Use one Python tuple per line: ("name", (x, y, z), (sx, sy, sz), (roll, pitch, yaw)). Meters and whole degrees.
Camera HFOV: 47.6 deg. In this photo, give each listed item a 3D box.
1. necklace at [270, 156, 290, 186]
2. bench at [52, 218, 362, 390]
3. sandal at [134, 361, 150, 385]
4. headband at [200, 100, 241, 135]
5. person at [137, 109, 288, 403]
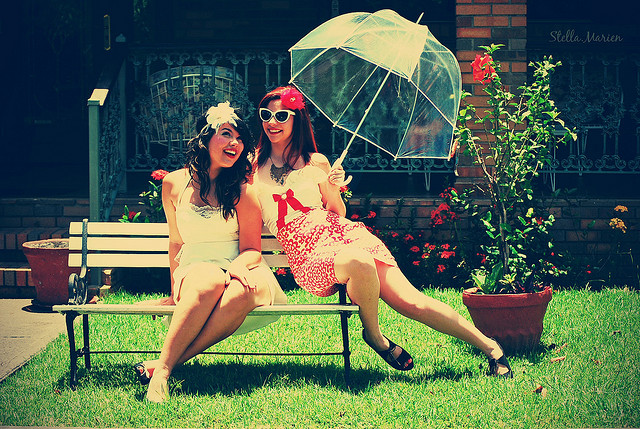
("necklace", (-0.364, -0.396, 6.618), (0.206, 0.336, 0.087), (-5, -30, 18))
("bench", (-1.019, 1.152, 7.281), (2.768, 1.625, 1.130), (-1, 27, -10))
("sandal", (-1.559, 1.376, 6.293), (0.088, 0.194, 0.226), (-2, 8, -33))
("headband", (-0.909, -0.872, 6.523), (0.353, 0.287, 0.143), (0, 6, -12))
("person", (-0.948, 0.302, 6.392), (1.053, 2.457, 0.797), (1, 6, -6))
